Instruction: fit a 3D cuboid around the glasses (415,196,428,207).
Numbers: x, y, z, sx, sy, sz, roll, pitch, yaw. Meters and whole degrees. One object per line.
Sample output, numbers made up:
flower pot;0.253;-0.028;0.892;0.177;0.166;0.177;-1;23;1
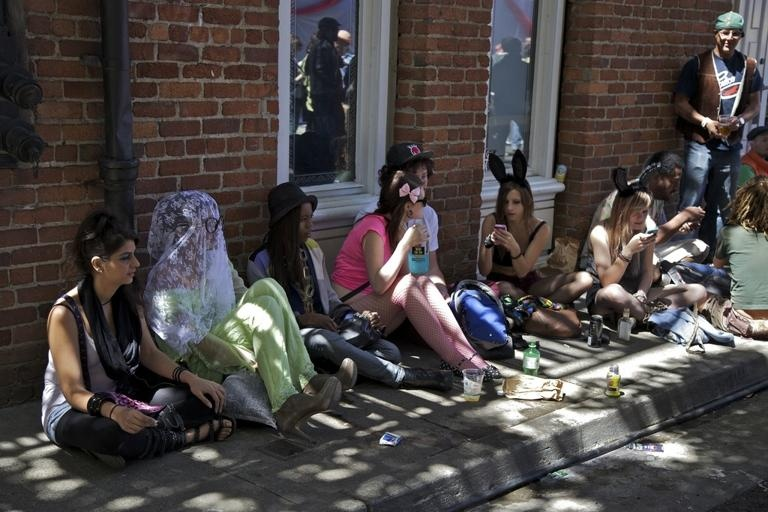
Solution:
glasses;0.342;-0.498;5.195;0.116;0.058;0.087;6;14;19

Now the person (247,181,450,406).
person;-0.341;0.229;4.576;1.775;1.500;0.830;10;15;38

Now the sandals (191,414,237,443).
sandals;-1.134;1.173;3.837;0.287;0.104;0.116;-22;14;-20

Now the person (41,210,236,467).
person;-1.500;0.565;3.698;1.261;1.409;1.109;1;9;-32

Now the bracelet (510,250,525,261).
bracelet;1.384;-0.005;5.846;0.094;0.078;0.188;7;14;27

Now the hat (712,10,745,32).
hat;4.591;-3.120;7.532;0.289;0.255;0.286;5;14;22

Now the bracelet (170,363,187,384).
bracelet;-1.371;0.796;3.800;0.056;0.114;0.100;4;-2;-15

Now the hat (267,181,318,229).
hat;-0.830;-0.492;4.826;0.475;0.239;0.425;-31;12;-24

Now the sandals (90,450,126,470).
sandals;-1.681;1.230;3.437;0.270;0.112;0.073;5;14;23

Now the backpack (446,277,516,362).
backpack;0.847;0.614;5.266;0.540;0.691;0.209;-14;-16;-31

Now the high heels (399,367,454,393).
high heels;0.359;1.005;4.667;0.462;0.165;0.167;3;29;1

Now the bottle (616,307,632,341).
bottle;2.454;0.692;5.770;0.137;0.304;0.203;5;14;23

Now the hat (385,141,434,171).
hat;0.234;-0.952;5.399;0.402;0.195;0.285;-7;6;21

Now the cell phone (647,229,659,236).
cell phone;2.694;-0.239;5.678;0.159;0.064;0.045;-6;14;-25

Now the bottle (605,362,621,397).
bottle;1.887;1.035;4.643;0.144;0.223;0.103;-12;17;-42

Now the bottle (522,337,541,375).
bottle;1.322;0.860;5.059;0.140;0.300;0.552;3;13;15

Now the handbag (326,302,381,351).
handbag;-0.281;0.597;4.745;0.359;0.336;0.147;28;30;32
